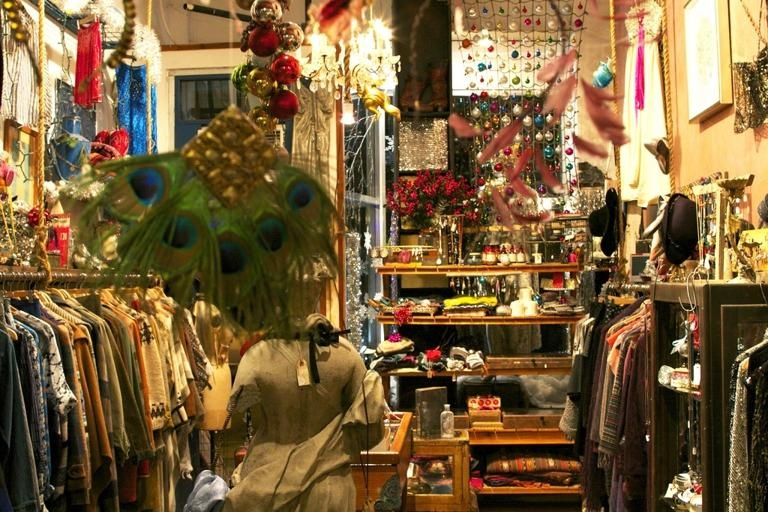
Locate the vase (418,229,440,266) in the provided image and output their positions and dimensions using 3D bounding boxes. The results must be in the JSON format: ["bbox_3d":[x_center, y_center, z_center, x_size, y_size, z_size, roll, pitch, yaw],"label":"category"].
[{"bbox_3d":[0.375,-0.099,8.668,0.177,0.451,0.208,0,0,10],"label":"vase"}]

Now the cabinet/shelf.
[{"bbox_3d":[0.779,0.919,8.060,1.269,1.657,0.495,-1,-1,4],"label":"cabinet/shelf"}]

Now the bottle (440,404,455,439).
[{"bbox_3d":[0.432,1.071,7.357,0.094,0.211,0.264,0,1,5],"label":"bottle"}]

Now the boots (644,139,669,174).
[{"bbox_3d":[1.623,-0.603,6.512,0.142,0.214,0.382,0,1,14],"label":"boots"}]

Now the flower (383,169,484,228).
[{"bbox_3d":[0.393,-0.411,8.689,0.450,0.416,0.506,1,1,-17],"label":"flower"}]

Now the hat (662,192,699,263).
[{"bbox_3d":[1.638,-0.159,6.077,0.083,0.351,0.237,2,8,30],"label":"hat"}]
